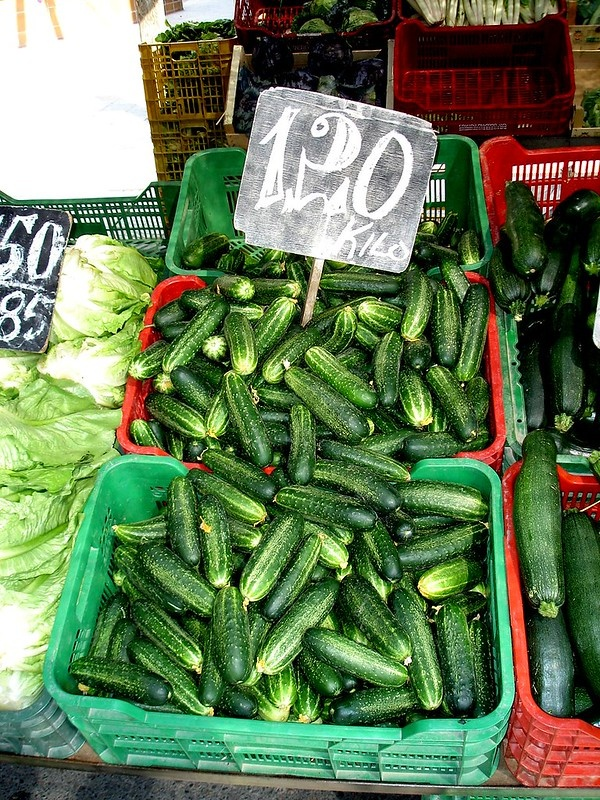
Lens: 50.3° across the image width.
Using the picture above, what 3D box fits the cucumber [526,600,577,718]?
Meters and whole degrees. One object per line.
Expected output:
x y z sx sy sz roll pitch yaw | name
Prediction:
0.787 0.807 2.046 0.122 0.109 0.359 -9 46 19 | cucumber

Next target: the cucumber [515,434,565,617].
0.805 0.425 2.262 0.136 0.159 0.615 -1 53 14 | cucumber
